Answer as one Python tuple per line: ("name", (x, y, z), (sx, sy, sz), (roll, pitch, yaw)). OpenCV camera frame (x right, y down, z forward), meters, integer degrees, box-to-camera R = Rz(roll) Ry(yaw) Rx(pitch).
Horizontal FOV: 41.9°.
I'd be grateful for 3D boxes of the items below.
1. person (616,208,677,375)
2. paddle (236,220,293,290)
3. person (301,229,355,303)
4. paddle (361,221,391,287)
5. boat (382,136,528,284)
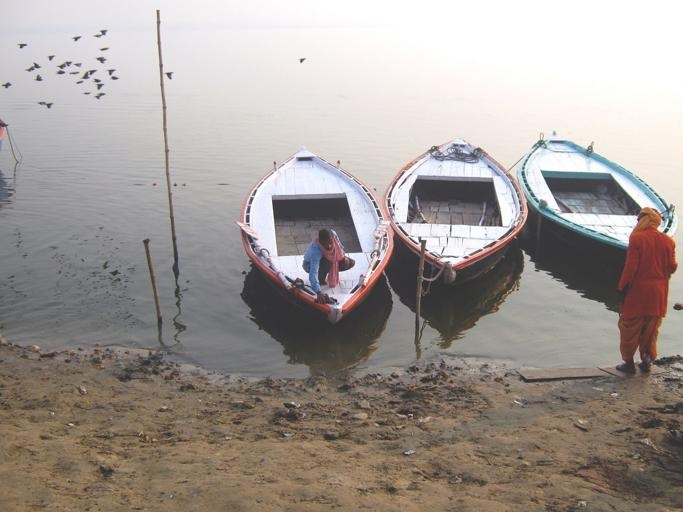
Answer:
("person", (5.955, 0.731, 17.476), (0.997, 3.248, 0.550), (8, 16, 12))
("paddle", (-1.790, -0.028, 20.214), (0.463, 0.620, 3.097), (-47, 38, -4))
("person", (-0.373, 0.142, 19.242), (0.956, 1.518, 1.111), (6, 14, 7))
("paddle", (0.769, -0.070, 20.183), (0.449, 0.287, 1.897), (24, 33, 5))
("boat", (2.866, -1.142, 22.743), (3.793, 1.248, 5.617), (4, 36, 5))
